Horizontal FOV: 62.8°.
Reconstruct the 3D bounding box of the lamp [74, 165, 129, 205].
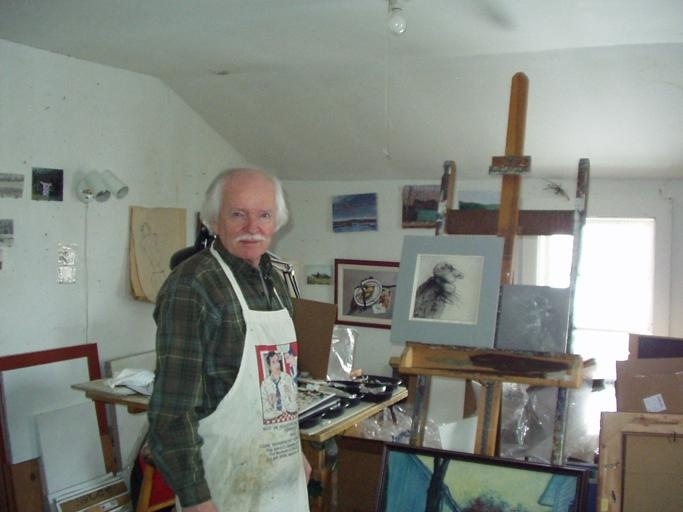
[{"bbox_3d":[-1.481,-0.437,3.477,0.281,0.222,0.227,-1,-3,40],"label":"lamp"}]
